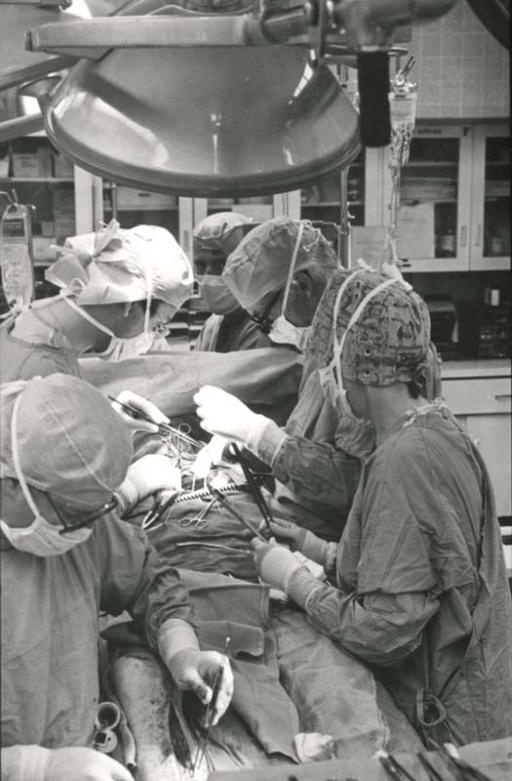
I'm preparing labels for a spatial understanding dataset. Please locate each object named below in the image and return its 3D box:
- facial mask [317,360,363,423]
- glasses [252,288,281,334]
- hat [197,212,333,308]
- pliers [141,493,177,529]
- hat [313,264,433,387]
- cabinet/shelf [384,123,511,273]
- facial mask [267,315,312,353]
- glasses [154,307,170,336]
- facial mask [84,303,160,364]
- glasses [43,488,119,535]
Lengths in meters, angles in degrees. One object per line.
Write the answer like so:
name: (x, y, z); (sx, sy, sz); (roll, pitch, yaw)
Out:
facial mask: (0.165, 0.004, 2.557); (0.050, 0.163, 0.047); (-3, 28, 38)
glasses: (0.031, -0.200, 3.173); (0.030, 0.088, 0.063); (24, 32, -19)
hat: (0.014, -0.357, 2.982); (0.243, 0.218, 0.182); (-34, 18, 11)
pliers: (-0.223, 0.271, 2.924); (0.039, 0.037, 0.121); (8, 49, 31)
hat: (0.263, -0.143, 2.506); (0.244, 0.262, 0.188); (-11, 14, -39)
cabinet/shelf: (0.374, -0.382, 2.378); (0.106, 0.284, 0.277); (0, 1, -33)
facial mask: (0.086, -0.149, 3.249); (0.087, 0.078, 0.083); (5, -7, -8)
glasses: (-0.250, -0.190, 3.276); (0.028, 0.058, 0.044); (-10, 31, -14)
facial mask: (-0.335, -0.153, 3.153); (0.157, 0.156, 0.121); (17, 0, -17)
glasses: (-0.310, 0.217, 2.232); (0.083, 0.060, 0.032); (33, 19, -53)
